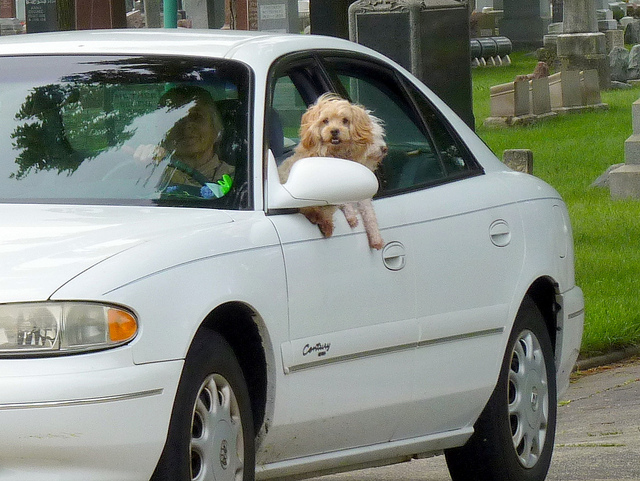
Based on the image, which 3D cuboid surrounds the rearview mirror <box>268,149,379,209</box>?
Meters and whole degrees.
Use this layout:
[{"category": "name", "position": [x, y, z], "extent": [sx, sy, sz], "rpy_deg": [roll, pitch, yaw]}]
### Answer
[{"category": "rearview mirror", "position": [0.005, -0.282, 4.919], "extent": [0.476, 0.250, 0.239], "rpy_deg": [-5, 10, 3]}]

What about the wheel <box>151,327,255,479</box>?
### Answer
[{"category": "wheel", "position": [-0.479, 0.652, 4.379], "extent": [0.167, 0.566, 0.510], "rpy_deg": [-4, -12, 22]}]

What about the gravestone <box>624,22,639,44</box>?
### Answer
[{"category": "gravestone", "position": [12.463, -8.159, 44.493], "extent": [0.563, 0.799, 0.746], "rpy_deg": [-2, 10, 18]}]

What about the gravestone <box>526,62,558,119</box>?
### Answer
[{"category": "gravestone", "position": [4.253, -2.946, 22.216], "extent": [0.765, 1.059, 0.746], "rpy_deg": [-13, 13, -41]}]

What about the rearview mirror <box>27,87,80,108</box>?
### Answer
[{"category": "rearview mirror", "position": [-1.251, -0.653, 5.235], "extent": [0.201, 0.124, 0.060], "rpy_deg": [-4, -9, 9]}]

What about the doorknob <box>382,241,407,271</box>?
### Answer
[{"category": "doorknob", "position": [0.347, 0.074, 5.197], "extent": [0.115, 0.134, 0.028], "rpy_deg": [1, 0, -43]}]

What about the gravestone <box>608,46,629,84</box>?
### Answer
[{"category": "gravestone", "position": [7.879, -4.594, 29.601], "extent": [0.595, 1.015, 0.505], "rpy_deg": [-9, 20, -9]}]

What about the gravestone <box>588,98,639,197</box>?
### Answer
[{"category": "gravestone", "position": [4.002, -1.246, 14.938], "extent": [0.391, 1.256, 1.263], "rpy_deg": [-4, 10, 2]}]

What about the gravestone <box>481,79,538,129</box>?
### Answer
[{"category": "gravestone", "position": [3.697, -2.607, 21.570], "extent": [0.938, 0.958, 0.844], "rpy_deg": [-6, 1, -35]}]

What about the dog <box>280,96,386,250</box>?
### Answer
[{"category": "dog", "position": [0.096, -0.465, 5.792], "extent": [0.293, 0.589, 0.855], "rpy_deg": [-5, 8, 4]}]

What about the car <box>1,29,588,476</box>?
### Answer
[{"category": "car", "position": [-0.246, 0.048, 5.157], "extent": [1.784, 1.470, 2.710], "rpy_deg": [-2, -5, 38]}]
